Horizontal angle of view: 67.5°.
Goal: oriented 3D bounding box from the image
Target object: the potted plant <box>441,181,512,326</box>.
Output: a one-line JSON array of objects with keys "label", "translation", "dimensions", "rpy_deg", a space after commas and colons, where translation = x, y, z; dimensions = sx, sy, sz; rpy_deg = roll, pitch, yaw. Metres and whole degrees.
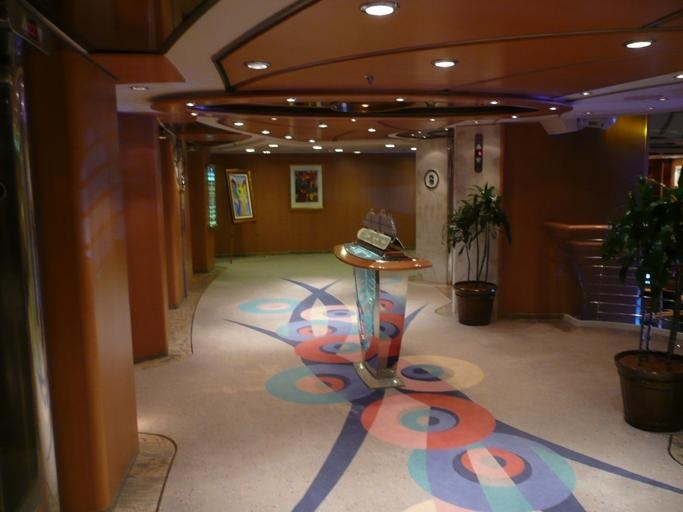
[{"label": "potted plant", "translation": [2.071, -0.040, 7.774], "dimensions": [0.867, 2.095, 0.775], "rpy_deg": [1, 11, 12]}]

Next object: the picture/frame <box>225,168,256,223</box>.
[{"label": "picture/frame", "translation": [-2.739, -1.605, 13.704], "dimensions": [0.155, 1.612, 1.448], "rpy_deg": [-7, 5, 21]}]
